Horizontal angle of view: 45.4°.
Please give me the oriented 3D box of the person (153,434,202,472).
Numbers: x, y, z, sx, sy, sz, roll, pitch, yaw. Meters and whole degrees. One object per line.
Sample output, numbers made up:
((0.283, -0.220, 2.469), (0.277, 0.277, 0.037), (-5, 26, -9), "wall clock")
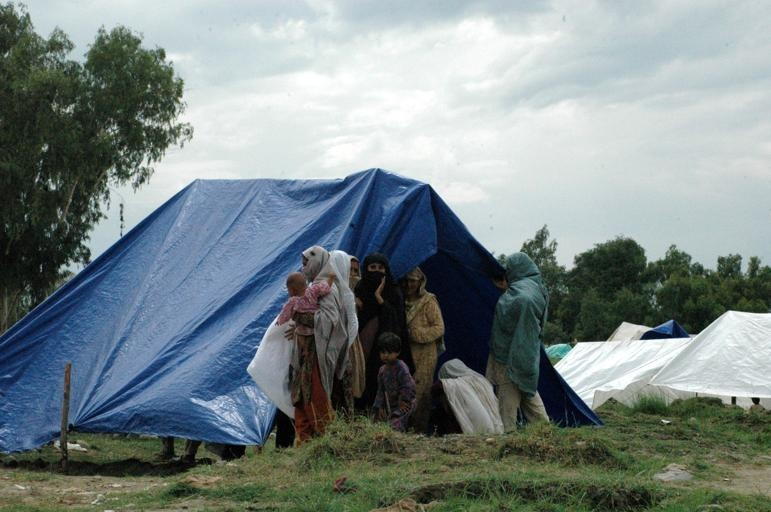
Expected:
((-3.335, 3.162, 14.874), (0.515, 0.459, 1.081), (18, -20, -39), "person")
